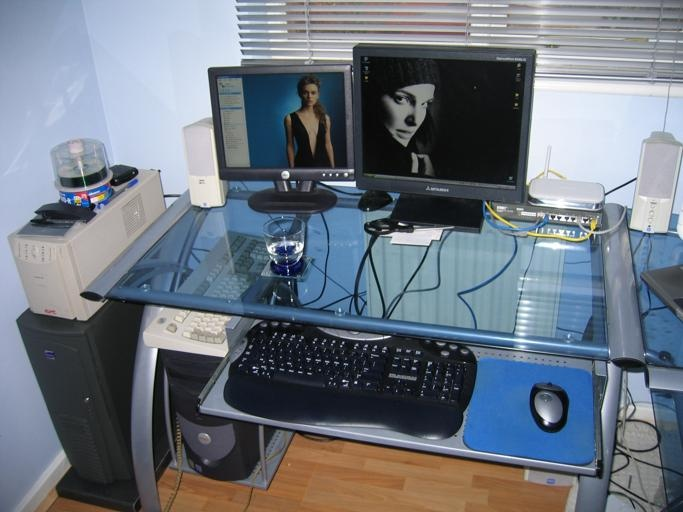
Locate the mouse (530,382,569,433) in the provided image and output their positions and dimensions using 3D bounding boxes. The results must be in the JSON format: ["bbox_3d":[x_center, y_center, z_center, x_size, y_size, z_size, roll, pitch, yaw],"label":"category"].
[{"bbox_3d":[0.566,0.407,1.469,0.101,0.080,0.109,8,24,21],"label":"mouse"}]

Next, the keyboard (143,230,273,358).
[{"bbox_3d":[-0.418,0.212,1.792,0.292,0.122,0.611,7,45,8],"label":"keyboard"}]

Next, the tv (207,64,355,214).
[{"bbox_3d":[-0.208,-0.413,1.864,0.438,0.458,0.244,1,33,4],"label":"tv"}]

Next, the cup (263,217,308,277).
[{"bbox_3d":[-0.177,-0.016,1.790,0.149,0.189,0.168,2,27,4],"label":"cup"}]

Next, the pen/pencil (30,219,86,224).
[{"bbox_3d":[-0.948,-0.114,1.805,0.166,0.021,0.025,-3,22,-4],"label":"pen/pencil"}]

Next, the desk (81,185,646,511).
[{"bbox_3d":[0.187,0.606,2.238,1.529,1.240,0.990,4,36,8],"label":"desk"}]
